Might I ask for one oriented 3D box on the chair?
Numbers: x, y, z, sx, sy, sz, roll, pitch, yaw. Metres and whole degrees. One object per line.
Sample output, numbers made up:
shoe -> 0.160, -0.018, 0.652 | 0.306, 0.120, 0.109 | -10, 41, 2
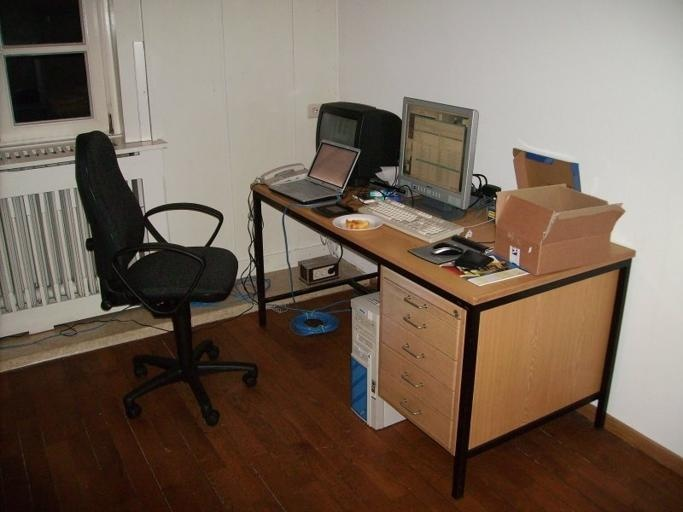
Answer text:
chair -> -1.094, 0.154, 3.196 | 1.063, 1.699, 1.027 | 5, 28, -6

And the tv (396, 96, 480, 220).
tv -> 0.517, -0.507, 2.848 | 0.189, 0.579, 0.532 | -21, 35, -31

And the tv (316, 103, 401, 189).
tv -> 0.075, -0.728, 3.412 | 0.544, 0.550, 0.555 | -9, 18, -42

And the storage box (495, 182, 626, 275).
storage box -> 0.905, -0.083, 2.339 | 0.445, 0.287, 0.470 | -13, 26, -24

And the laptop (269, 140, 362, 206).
laptop -> -0.147, -0.482, 3.171 | 0.445, 0.297, 0.479 | -16, 28, -29

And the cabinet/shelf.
cabinet/shelf -> 0.624, 0.407, 2.769 | 1.077, 0.956, 1.938 | -14, 28, -29
